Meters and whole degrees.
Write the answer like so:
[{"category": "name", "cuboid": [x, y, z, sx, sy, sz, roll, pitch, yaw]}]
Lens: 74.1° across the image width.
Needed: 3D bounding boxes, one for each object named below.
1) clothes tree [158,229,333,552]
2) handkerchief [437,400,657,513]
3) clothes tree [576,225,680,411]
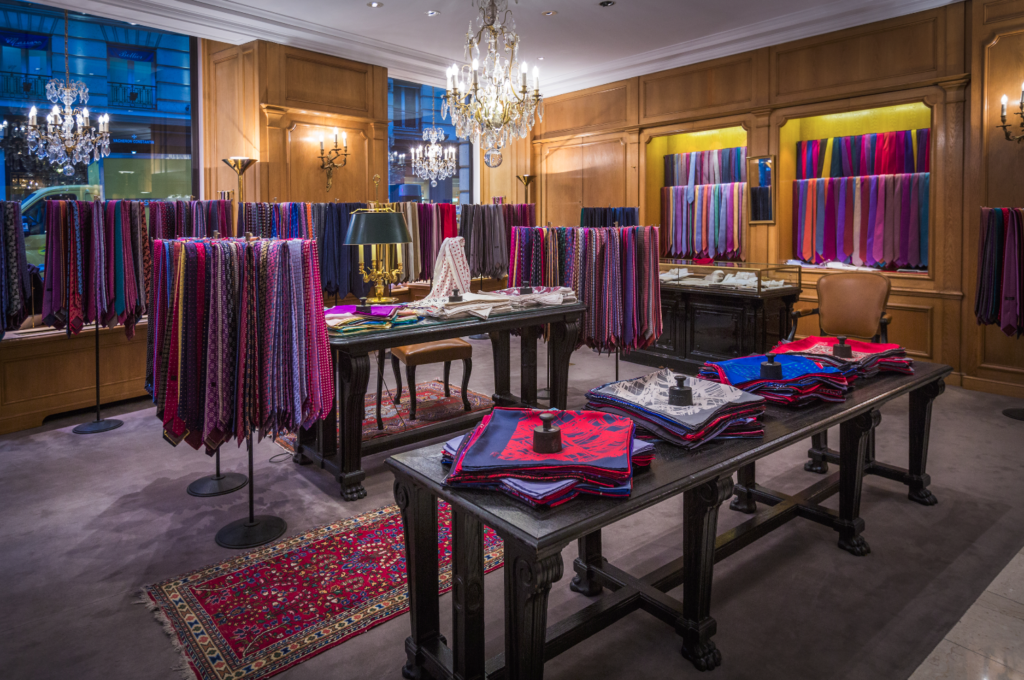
[{"category": "clothes tree", "cuboid": [-1.540, 0.283, 3.973, 0.857, 1.733, 0.573, -5, 15, -28]}, {"category": "handkerchief", "cuboid": [0.183, 0.487, 2.995, 0.839, 0.261, 0.514, 2, 13, 13]}, {"category": "clothes tree", "cuboid": [0.898, -0.304, 5.707, 0.527, 1.224, 0.386, 11, 13, 27]}]
